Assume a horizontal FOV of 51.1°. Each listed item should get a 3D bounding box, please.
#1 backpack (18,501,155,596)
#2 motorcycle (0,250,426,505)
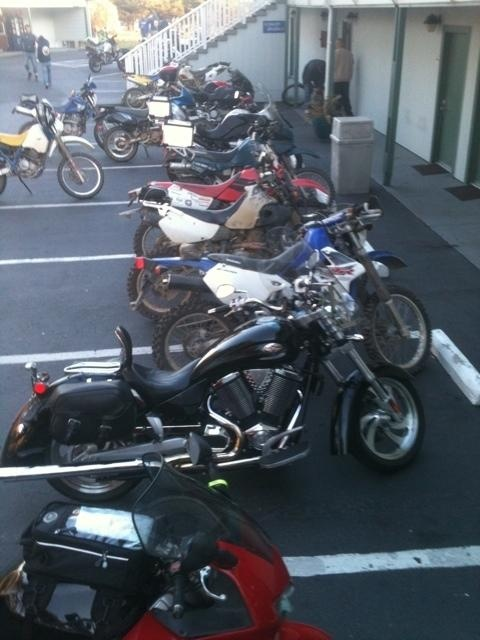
[{"bbox_3d":[-0.373,0.545,1.218,0.301,0.108,0.222,8,11,18],"label":"backpack"},{"bbox_3d":[-0.190,0.458,3.226,2.731,1.429,1.187,-5,34,-3],"label":"motorcycle"}]
